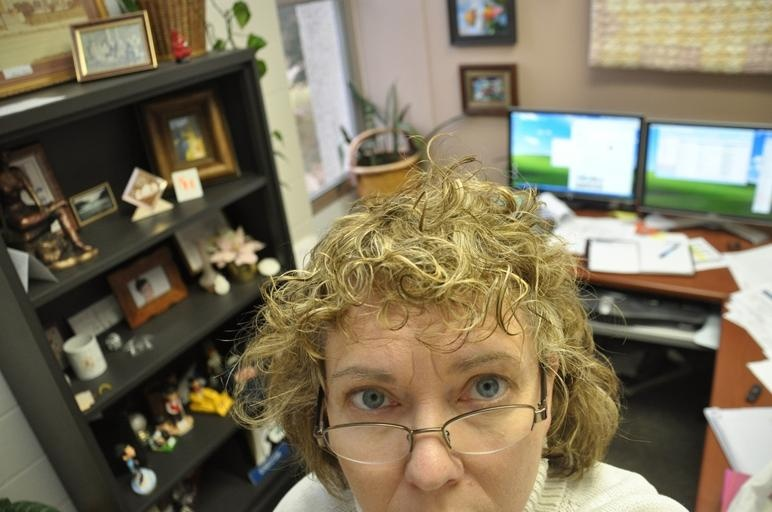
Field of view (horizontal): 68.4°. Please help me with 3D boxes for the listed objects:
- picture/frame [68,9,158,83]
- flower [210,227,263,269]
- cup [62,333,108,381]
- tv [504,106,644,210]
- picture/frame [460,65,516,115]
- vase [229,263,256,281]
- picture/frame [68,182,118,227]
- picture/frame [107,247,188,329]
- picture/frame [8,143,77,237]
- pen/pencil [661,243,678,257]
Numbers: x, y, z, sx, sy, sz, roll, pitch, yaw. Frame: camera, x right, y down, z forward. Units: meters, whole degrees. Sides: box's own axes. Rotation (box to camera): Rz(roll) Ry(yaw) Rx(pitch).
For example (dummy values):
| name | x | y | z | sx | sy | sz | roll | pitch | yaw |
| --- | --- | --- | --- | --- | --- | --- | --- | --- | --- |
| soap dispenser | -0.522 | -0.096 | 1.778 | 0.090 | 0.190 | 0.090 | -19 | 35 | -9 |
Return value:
| name | x | y | z | sx | sy | sz | roll | pitch | yaw |
| --- | --- | --- | --- | --- | --- | --- | --- | --- | --- |
| picture/frame | -0.974 | -0.734 | 2.013 | 0.284 | 0.241 | 0.030 | -13 | -10 | -9 |
| flower | -0.636 | -0.018 | 2.462 | 0.189 | 0.092 | 0.189 | 18 | 55 | 6 |
| cup | -1.126 | 0.361 | 2.125 | 0.122 | 0.133 | 0.193 | -19 | 29 | -31 |
| tv | 0.905 | -0.457 | 2.647 | 0.628 | 0.442 | 0.167 | 10 | 31 | 22 |
| picture/frame | 0.566 | -0.903 | 3.062 | 0.380 | 0.325 | 0.029 | 3 | 33 | 20 |
| vase | -0.630 | 0.072 | 2.505 | 0.087 | 0.060 | 0.085 | -1 | 21 | 0 |
| picture/frame | -1.131 | -0.195 | 2.179 | 0.017 | 0.121 | 0.167 | 3 | 24 | 46 |
| picture/frame | -0.977 | 0.135 | 2.296 | 0.019 | 0.230 | 0.264 | -3 | 23 | 42 |
| picture/frame | -1.199 | -0.228 | 1.966 | 0.021 | 0.301 | 0.254 | -11 | 26 | 19 |
| pen/pencil | 1.261 | -0.024 | 2.516 | 0.060 | 0.014 | 0.018 | -31 | 27 | -22 |
